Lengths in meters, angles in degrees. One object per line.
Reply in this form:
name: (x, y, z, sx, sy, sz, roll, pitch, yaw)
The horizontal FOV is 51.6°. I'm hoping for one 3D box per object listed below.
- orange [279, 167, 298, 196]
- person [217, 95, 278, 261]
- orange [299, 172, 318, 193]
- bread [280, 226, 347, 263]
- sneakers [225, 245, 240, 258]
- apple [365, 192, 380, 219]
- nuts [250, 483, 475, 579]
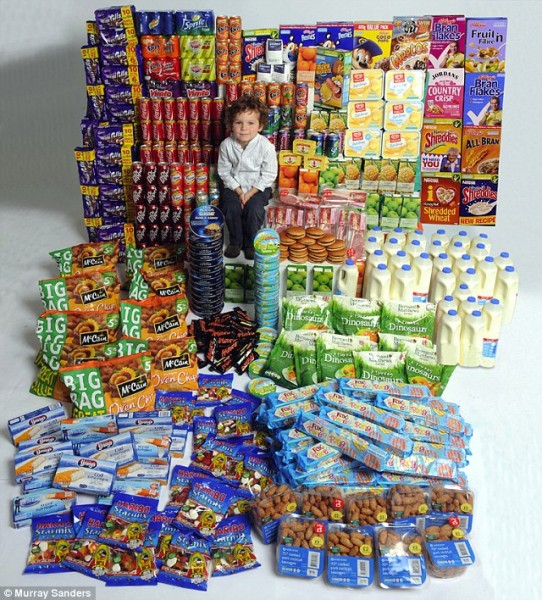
orange: (0.136, -0.962, 4.470, 0.177, 0.187, 0.082, 1, 9, 10)
person: (-0.207, -0.980, 4.439, 0.557, 1.153, 0.683, 4, 31, 0)
orange: (0.290, -0.934, 4.433, 0.152, 0.158, 0.062, 4, 14, -2)
bread: (0.302, -0.396, 4.008, 0.493, 0.219, 0.269, 1, 19, 6)
sneakers: (-0.299, -0.367, 4.255, 0.106, 0.086, 0.135, 1, 18, 5)
apple: (0.821, -0.767, 4.542, 0.121, 0.199, 0.131, 0, 20, 2)
nuts: (0.414, 1.001, 2.450, 1.009, 0.226, 0.419, -1, 18, -3)
